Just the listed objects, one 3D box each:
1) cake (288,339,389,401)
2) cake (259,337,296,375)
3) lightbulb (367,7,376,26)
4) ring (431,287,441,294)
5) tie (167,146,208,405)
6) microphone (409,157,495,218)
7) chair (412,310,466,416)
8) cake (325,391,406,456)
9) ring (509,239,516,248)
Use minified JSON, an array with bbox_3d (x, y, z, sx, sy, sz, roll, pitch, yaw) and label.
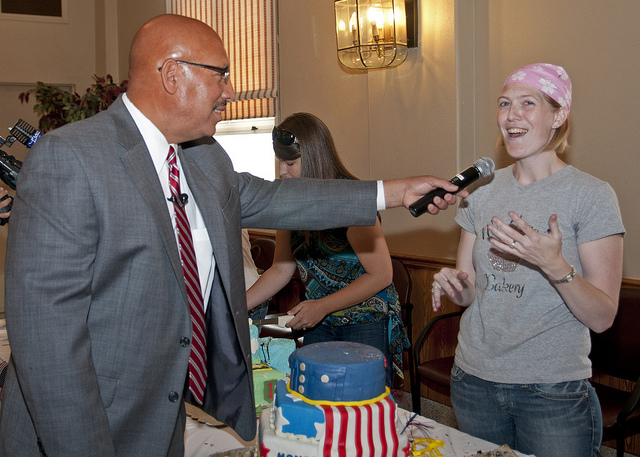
[{"bbox_3d":[0.069,0.437,1.562,0.179,0.073,0.183,0,3,-23],"label":"cake"},{"bbox_3d":[-0.192,0.541,2.264,0.143,0.156,0.152,3,0,28],"label":"cake"},{"bbox_3d":[0.391,-1.612,3.927,0.075,0.121,0.055,1,3,-24],"label":"lightbulb"},{"bbox_3d":[0.479,0.256,2.109,0.027,0.019,0.035,-2,13,9],"label":"ring"},{"bbox_3d":[-0.437,0.089,1.661,0.091,0.919,0.089,-7,-8,27],"label":"tie"},{"bbox_3d":[0.473,-0.146,1.830,0.409,0.149,0.082,-14,16,-36],"label":"microphone"},{"bbox_3d":[0.814,0.962,3.389,0.429,0.751,0.414,-4,-4,7],"label":"chair"},{"bbox_3d":[0.152,0.581,1.462,0.162,0.126,0.170,-1,-6,-19],"label":"cake"},{"bbox_3d":[0.659,0.058,1.747,0.005,0.022,0.020,19,33,7],"label":"ring"}]
